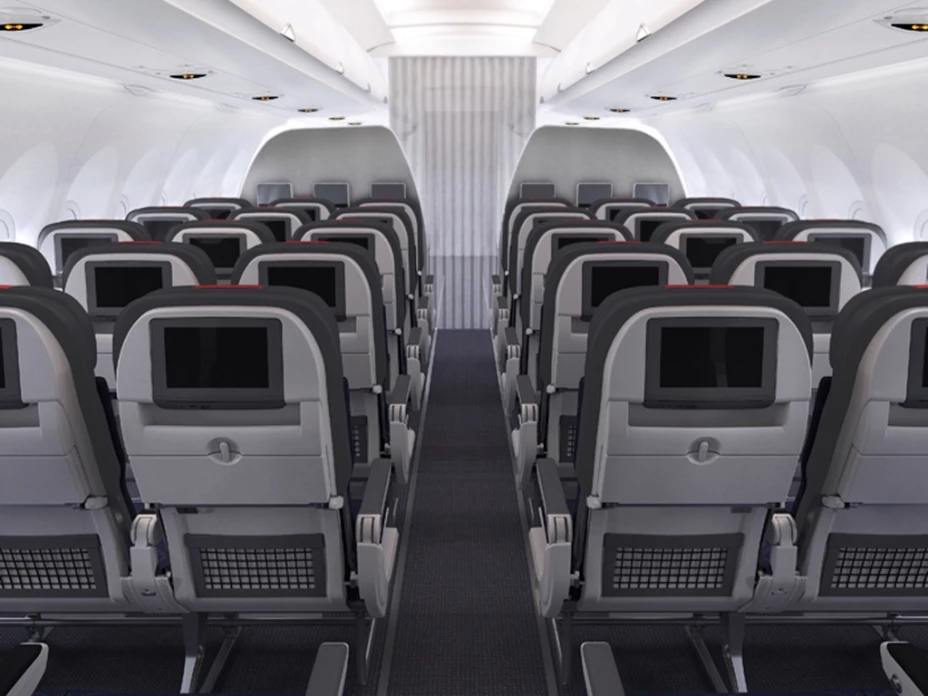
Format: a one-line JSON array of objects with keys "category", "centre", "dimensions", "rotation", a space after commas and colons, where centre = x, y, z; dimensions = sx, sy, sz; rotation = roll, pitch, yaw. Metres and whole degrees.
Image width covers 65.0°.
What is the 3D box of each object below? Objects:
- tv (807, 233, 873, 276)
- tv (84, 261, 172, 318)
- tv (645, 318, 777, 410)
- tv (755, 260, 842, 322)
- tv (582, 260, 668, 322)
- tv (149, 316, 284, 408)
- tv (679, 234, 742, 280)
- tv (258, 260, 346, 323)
[{"category": "tv", "centre": [2.441, -0.623, 4.747], "dimensions": [0.491, 0.313, 0.062], "rotation": [-1, 4, -9]}, {"category": "tv", "centre": [-1.780, -0.336, 3.865], "dimensions": [0.419, 0.278, 0.054], "rotation": [2, 15, 5]}, {"category": "tv", "centre": [0.956, 0.078, 2.680], "dimensions": [0.537, 0.351, 0.280], "rotation": [-1, -16, 37]}, {"category": "tv", "centre": [1.947, -0.330, 4.318], "dimensions": [0.517, 0.349, 0.282], "rotation": [0, 0, 3]}, {"category": "tv", "centre": [0.705, -0.263, 3.302], "dimensions": [0.390, 0.249, 0.051], "rotation": [-1, 10, -1]}, {"category": "tv", "centre": [-0.857, 0.026, 2.669], "dimensions": [0.512, 0.345, 0.264], "rotation": [0, 6, 5]}, {"category": "tv", "centre": [1.652, -0.623, 4.867], "dimensions": [0.466, 0.381, 0.159], "rotation": [0, 13, 6]}, {"category": "tv", "centre": [-0.703, -0.263, 3.249], "dimensions": [0.390, 0.261, 0.050], "rotation": [1, 14, 3]}]
